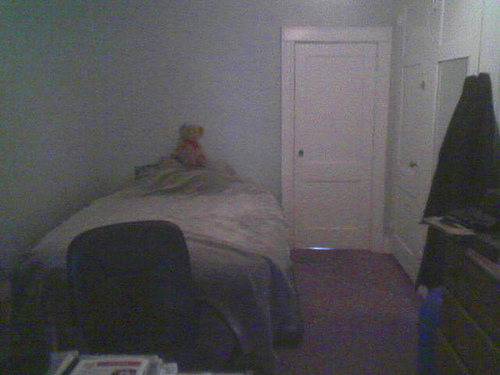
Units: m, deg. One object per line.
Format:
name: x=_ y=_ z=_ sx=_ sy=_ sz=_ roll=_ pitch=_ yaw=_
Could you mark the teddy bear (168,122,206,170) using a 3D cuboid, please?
teddy bear: x=-0.204 y=-0.139 z=1.652 sx=0.165 sy=0.091 sz=0.202 roll=3 pitch=-27 yaw=2
